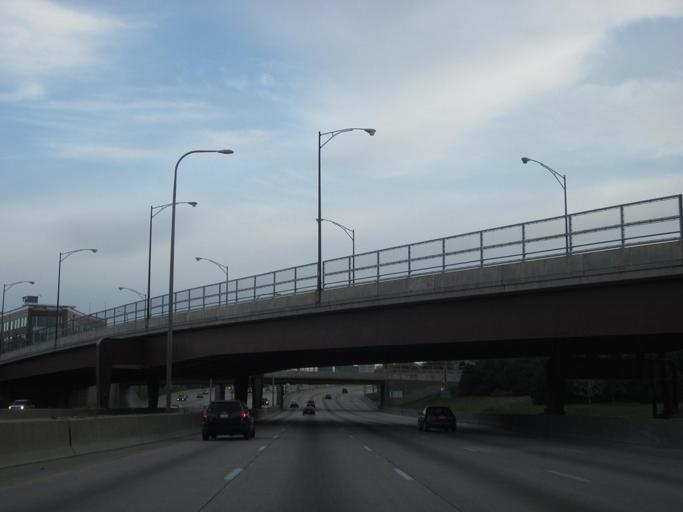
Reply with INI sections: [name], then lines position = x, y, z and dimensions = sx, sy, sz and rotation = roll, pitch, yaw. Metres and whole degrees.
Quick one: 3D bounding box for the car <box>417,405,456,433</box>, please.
[car]
position = 5.900, 9.731, 49.215
dimensions = 1.945, 1.547, 1.239
rotation = -8, -12, 22
